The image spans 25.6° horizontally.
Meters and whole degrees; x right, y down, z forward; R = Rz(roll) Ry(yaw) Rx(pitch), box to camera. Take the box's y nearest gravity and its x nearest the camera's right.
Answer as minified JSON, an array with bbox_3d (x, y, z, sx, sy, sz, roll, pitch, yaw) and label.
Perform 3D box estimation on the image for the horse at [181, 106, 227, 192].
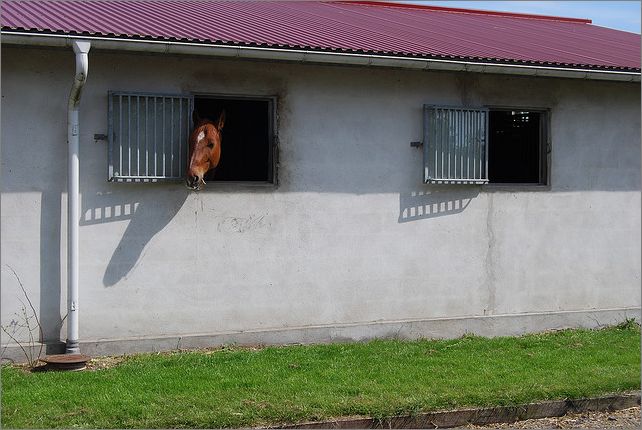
[{"bbox_3d":[-1.795,-0.953,21.675,0.448,1.051,1.480,7,31,12],"label":"horse"}]
